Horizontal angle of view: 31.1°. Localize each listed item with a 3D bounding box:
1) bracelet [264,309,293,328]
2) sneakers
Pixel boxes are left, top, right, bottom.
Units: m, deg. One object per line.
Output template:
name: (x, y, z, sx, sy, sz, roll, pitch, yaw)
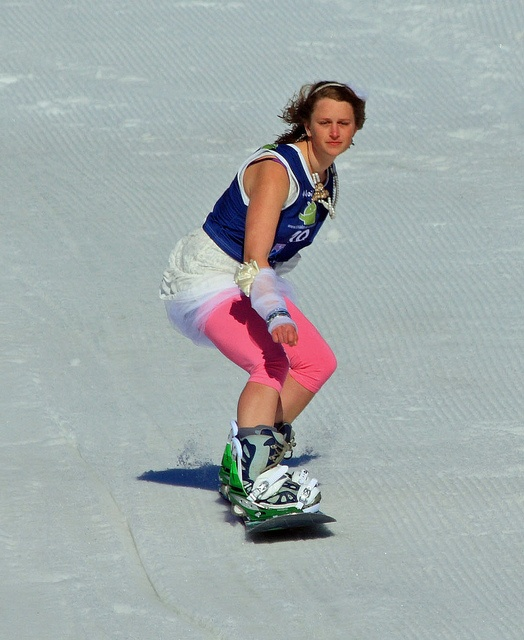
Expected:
bracelet: (0.054, 0.001, 3.054, 0.082, 0.065, 0.071, -20, 80, -4)
sneakers: (0.050, 0.518, 3.278, 0.311, 0.139, 0.290, 2, 78, 0)
